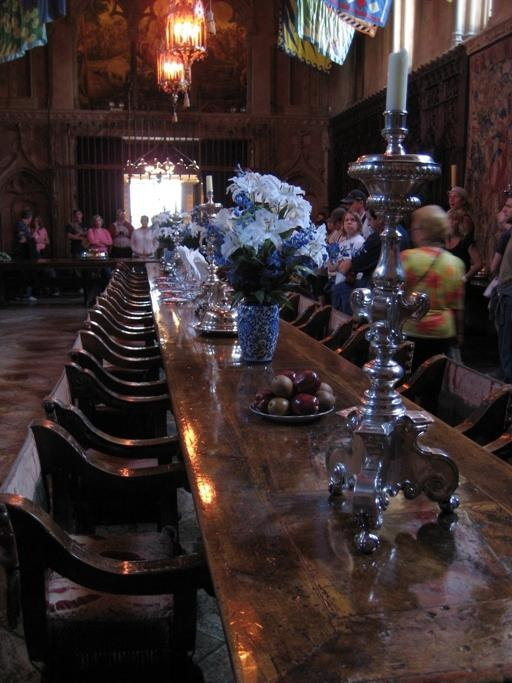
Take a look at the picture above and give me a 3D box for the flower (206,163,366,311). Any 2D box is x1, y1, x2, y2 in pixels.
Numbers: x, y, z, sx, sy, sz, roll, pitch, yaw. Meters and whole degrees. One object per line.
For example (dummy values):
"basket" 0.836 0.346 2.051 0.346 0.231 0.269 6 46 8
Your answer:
"flower" 0.084 -0.377 2.418 0.455 0.460 0.459 5 29 -21

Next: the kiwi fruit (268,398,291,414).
"kiwi fruit" 0.068 0.188 1.705 0.052 0.047 0.057 -9 26 -8

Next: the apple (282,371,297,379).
"apple" 0.105 0.101 1.816 0.024 0.022 0.032 25 1 4

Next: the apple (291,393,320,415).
"apple" 0.141 0.184 1.747 0.083 0.059 0.059 -3 10 8

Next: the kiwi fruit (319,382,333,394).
"kiwi fruit" 0.221 0.149 1.863 0.028 0.026 0.046 -4 19 -8

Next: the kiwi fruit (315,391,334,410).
"kiwi fruit" 0.205 0.187 1.815 0.045 0.043 0.060 -28 -46 31

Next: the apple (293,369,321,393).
"apple" 0.152 0.125 1.816 0.071 0.081 0.065 12 4 -20

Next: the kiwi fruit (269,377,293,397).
"kiwi fruit" 0.077 0.133 1.744 0.052 0.050 0.066 2 -18 10

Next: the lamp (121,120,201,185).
"lamp" -2.559 -5.042 15.740 1.859 2.105 1.798 -12 27 -30
